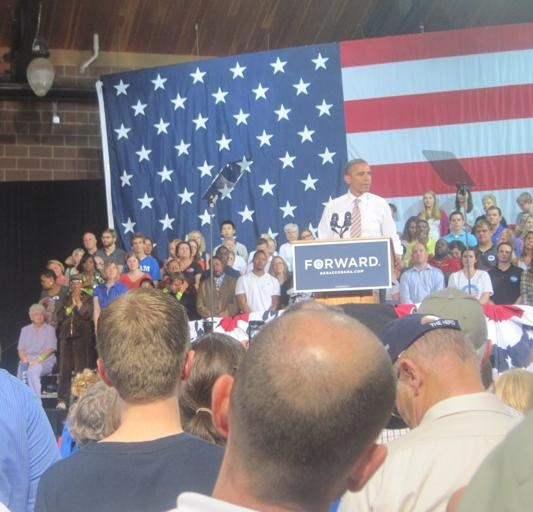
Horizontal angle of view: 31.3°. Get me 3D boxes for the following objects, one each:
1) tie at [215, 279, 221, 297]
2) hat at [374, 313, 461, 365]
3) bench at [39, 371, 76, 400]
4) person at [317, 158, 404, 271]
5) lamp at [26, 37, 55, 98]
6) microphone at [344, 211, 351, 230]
[{"bbox_3d":[-0.541,0.335,10.956,0.066,0.161,0.066,1,6,-5],"label":"tie"},{"bbox_3d":[0.727,0.383,4.537,0.438,0.267,0.296,-5,-5,35],"label":"hat"},{"bbox_3d":[-2.419,1.462,11.171,0.362,0.350,0.998,0,8,-14],"label":"bench"},{"bbox_3d":[0.926,0.059,9.670,0.768,2.095,0.506,1,2,15],"label":"person"},{"bbox_3d":[-2.596,-2.321,11.137,0.256,0.911,0.272,1,-3,-6],"label":"lamp"},{"bbox_3d":[0.633,-0.277,7.437,0.040,0.184,0.062,3,-3,5],"label":"microphone"}]
